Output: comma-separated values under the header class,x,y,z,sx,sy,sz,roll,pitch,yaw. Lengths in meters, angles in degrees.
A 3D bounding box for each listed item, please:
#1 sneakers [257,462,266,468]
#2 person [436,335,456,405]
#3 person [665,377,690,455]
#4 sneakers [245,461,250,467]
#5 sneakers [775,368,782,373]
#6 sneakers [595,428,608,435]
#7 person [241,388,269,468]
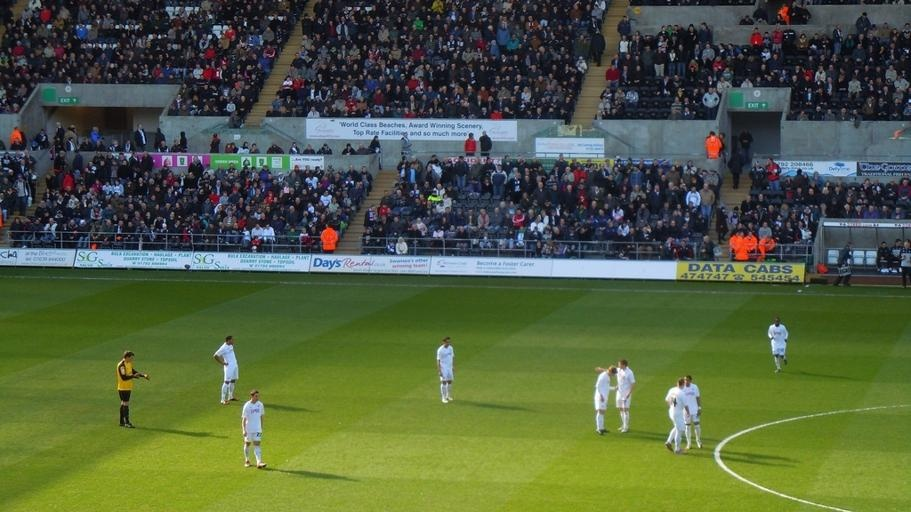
class,x,y,z,sx,sy,sz,roll,pitch,yaw
sneakers,-9.846,10.515,81.353,0.179,0.182,0.406,3,-16,-45
person,-0.569,6.045,86.969,0.814,3.480,1.598,1,5,-1
person,11.227,8.084,82.385,0.924,3.783,0.643,2,5,6
sneakers,-10.607,10.478,81.541,0.253,0.241,0.151,0,2,3
sneakers,17.926,6.251,89.139,0.484,0.178,0.273,-2,5,-32
sneakers,7.607,9.079,83.858,0.498,0.212,0.259,0,15,14
person,-10.281,8.662,81.433,1.048,3.934,1.075,0,5,-6
